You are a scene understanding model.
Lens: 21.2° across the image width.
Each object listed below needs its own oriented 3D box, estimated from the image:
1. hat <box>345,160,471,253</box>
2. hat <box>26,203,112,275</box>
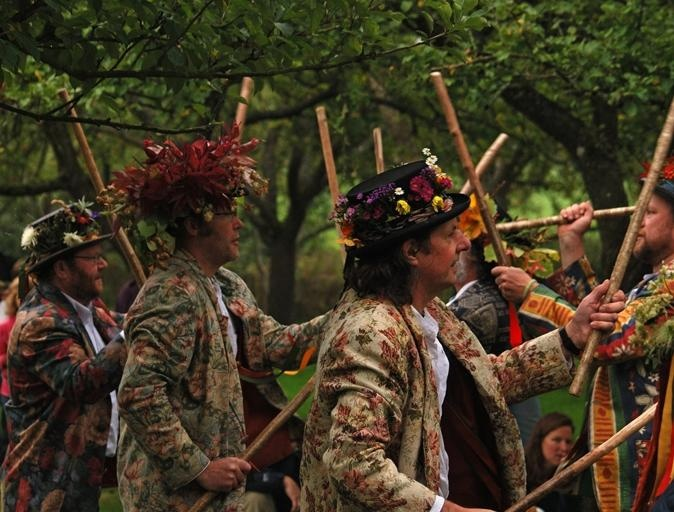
[{"bbox_3d":[0.374,-0.339,11.046,0.752,0.239,0.599,-22,14,17],"label":"hat"},{"bbox_3d":[-1.904,-0.175,12.518,0.621,0.198,0.523,-24,4,25],"label":"hat"}]
